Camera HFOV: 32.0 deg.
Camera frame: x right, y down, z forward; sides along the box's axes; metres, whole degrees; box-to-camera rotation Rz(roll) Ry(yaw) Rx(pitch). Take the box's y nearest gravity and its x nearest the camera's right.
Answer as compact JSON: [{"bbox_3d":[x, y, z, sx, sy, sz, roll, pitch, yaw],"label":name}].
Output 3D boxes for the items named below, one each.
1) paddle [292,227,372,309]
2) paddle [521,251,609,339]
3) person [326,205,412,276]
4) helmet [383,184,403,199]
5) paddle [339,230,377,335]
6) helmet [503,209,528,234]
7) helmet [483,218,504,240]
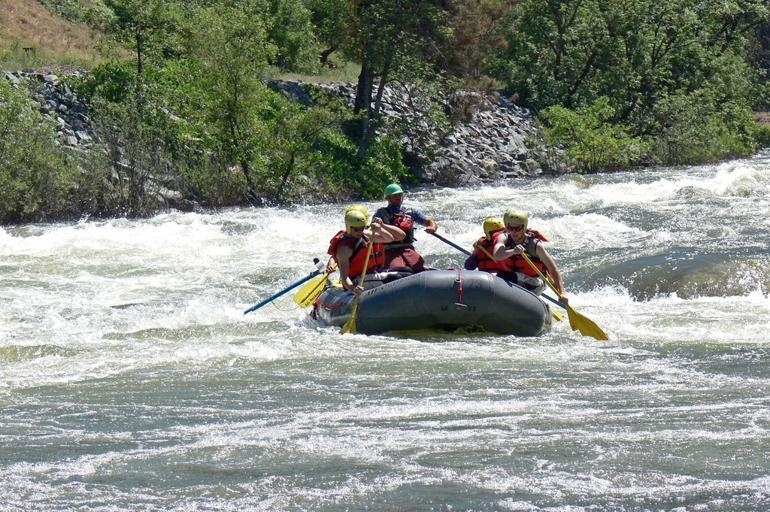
[{"bbox_3d":[-1.511,0.449,33.647,0.644,2.065,0.200,35,10,-41],"label":"paddle"},{"bbox_3d":[4.423,1.058,33.212,2.746,0.487,0.076,43,19,16],"label":"paddle"},{"bbox_3d":[-0.332,-0.306,33.077,1.424,1.954,1.147,-28,25,-31],"label":"person"},{"bbox_3d":[0.097,-1.616,33.374,0.611,0.287,0.426,-14,-5,30],"label":"helmet"},{"bbox_3d":[-0.608,0.896,31.924,0.605,2.751,0.112,31,37,24],"label":"paddle"},{"bbox_3d":[3.149,-0.860,32.240,0.471,0.553,0.445,-2,39,8],"label":"helmet"},{"bbox_3d":[2.671,-0.697,32.918,0.558,0.469,0.426,-6,-1,41],"label":"helmet"}]
